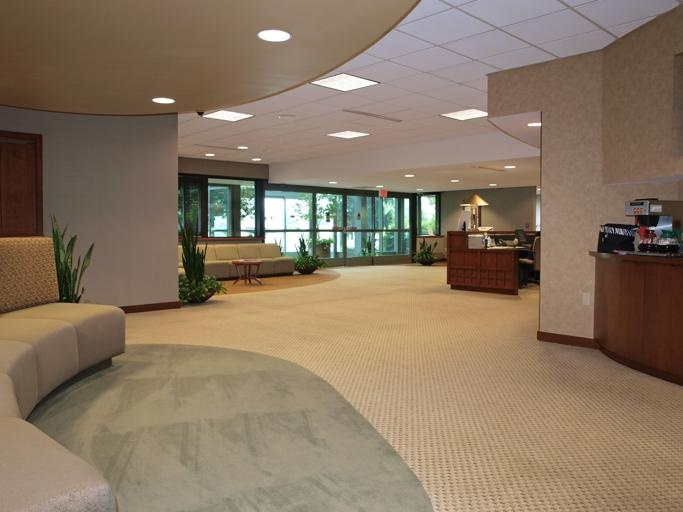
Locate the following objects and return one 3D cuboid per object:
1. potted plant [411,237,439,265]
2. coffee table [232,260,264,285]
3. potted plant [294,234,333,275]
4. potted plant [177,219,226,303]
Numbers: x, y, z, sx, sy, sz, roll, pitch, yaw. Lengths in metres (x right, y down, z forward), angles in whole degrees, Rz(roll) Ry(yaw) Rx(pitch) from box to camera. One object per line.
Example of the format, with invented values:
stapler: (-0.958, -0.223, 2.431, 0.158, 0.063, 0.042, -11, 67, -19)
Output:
potted plant: (3.344, -0.127, 16.309, 0.837, 1.167, 1.047, 1, -1, -2)
coffee table: (-2.562, 0.424, 11.486, 0.720, 0.558, 0.705, 0, -1, -38)
potted plant: (-0.936, -0.077, 13.495, 1.077, 1.187, 1.113, -3, 3, -8)
potted plant: (-2.690, 0.136, 7.929, 0.694, 1.450, 0.816, -2, 4, -21)
